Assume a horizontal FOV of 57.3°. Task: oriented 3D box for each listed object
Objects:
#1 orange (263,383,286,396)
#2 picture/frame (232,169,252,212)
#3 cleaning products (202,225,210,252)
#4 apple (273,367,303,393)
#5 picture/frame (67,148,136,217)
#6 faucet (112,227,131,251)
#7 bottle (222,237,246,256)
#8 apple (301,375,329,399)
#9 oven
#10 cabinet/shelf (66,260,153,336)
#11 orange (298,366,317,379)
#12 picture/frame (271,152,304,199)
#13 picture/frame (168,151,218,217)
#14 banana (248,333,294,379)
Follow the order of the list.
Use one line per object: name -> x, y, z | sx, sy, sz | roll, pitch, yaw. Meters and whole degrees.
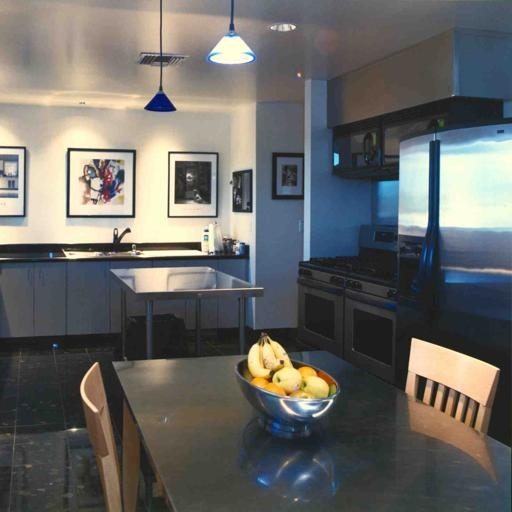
orange -> 0.046, 0.309, 1.099 | 0.025, 0.030, 0.031 | 0, -1, -35
picture/frame -> -0.163, -0.773, 5.611 | 0.022, 0.496, 0.443 | -5, 6, -37
cleaning products -> -0.624, -0.199, 5.809 | 0.062, 0.315, 0.339 | 1, 4, -12
apple -> 0.077, 0.302, 1.140 | 0.047, 0.056, 0.051 | -11, -12, 29
picture/frame -> -1.875, -0.886, 5.677 | 0.778, 0.950, 0.032 | -1, -19, -15
faucet -> -1.624, -0.199, 5.677 | 0.209, 0.296, 0.242 | 1, 4, -16
bottle -> -0.267, -0.104, 5.665 | 0.222, 0.174, 0.451 | 1, 5, -26
apple -> 0.146, 0.316, 1.122 | 0.053, 0.050, 0.043 | 23, -13, -24
oven -> 0.853, 0.471, 3.742 | 0.556, 0.750, 1.046 | -10, 16, -42
cabinet/shelf -> -1.607, 0.465, 5.320 | 0.999, 1.124, 0.606 | 0, 0, -17
orange -> 0.140, 0.307, 1.259 | 0.028, 0.034, 0.030 | -2, 7, -18
picture/frame -> 0.349, -0.927, 5.344 | 0.445, 0.629, 0.041 | -1, 5, -14
picture/frame -> -0.803, -0.902, 5.934 | 0.612, 0.964, 0.032 | -1, -23, -8
banana -> 0.030, 0.284, 1.298 | 0.077, 0.072, 0.146 | -2, 15, 0
